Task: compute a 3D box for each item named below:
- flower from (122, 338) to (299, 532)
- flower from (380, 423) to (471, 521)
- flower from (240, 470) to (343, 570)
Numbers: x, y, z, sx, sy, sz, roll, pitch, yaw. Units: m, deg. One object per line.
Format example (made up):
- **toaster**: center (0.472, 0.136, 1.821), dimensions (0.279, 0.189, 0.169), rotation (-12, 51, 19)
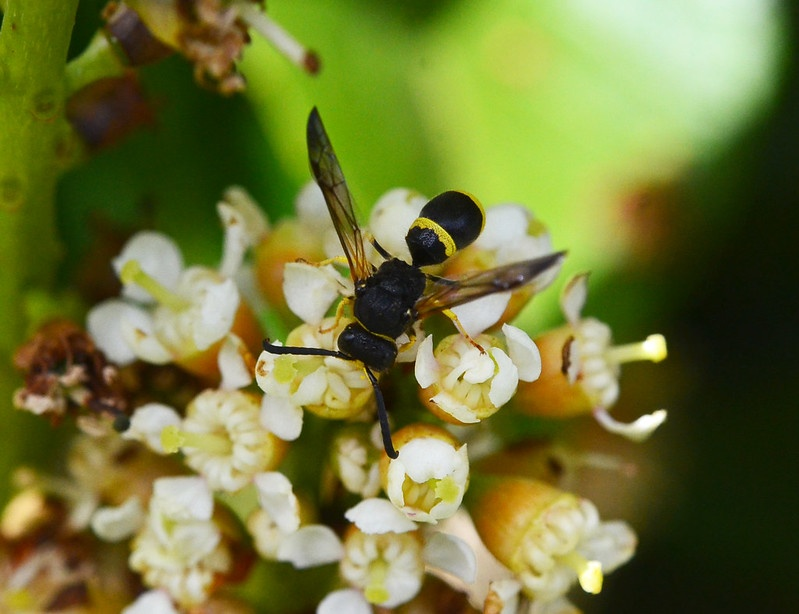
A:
- **flower**: center (-0.204, 0.166, 1.158), dimensions (0.192, 0.085, 0.226), rotation (4, 86, 5)
- **flower**: center (0.028, 0.188, 1.094), dimensions (0.103, 0.064, 0.116), rotation (22, 64, 7)
- **flower**: center (-0.128, 0.255, 1.130), dimensions (0.085, 0.069, 0.148), rotation (-9, 84, 4)
